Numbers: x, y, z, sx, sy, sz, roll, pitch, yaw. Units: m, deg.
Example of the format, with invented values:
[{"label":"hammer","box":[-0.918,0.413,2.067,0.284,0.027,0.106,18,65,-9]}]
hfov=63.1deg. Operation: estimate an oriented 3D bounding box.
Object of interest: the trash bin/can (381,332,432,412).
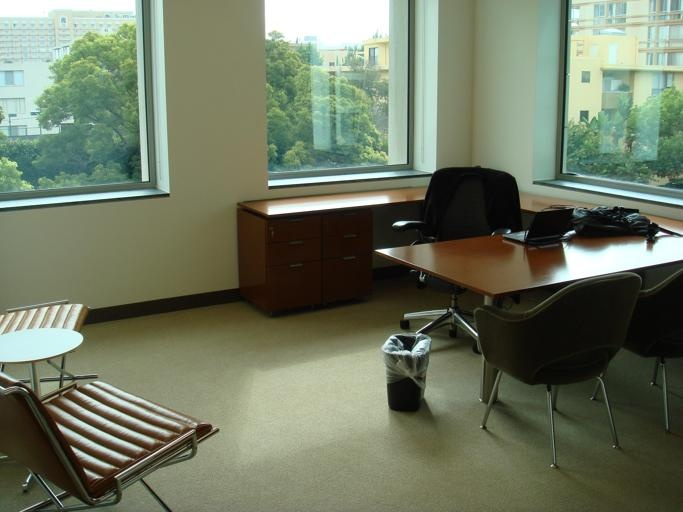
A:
[{"label":"trash bin/can","box":[0.375,0.735,3.648,0.396,0.490,0.397,-1,9,-2]}]

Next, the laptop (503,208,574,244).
[{"label":"laptop","box":[1.410,-0.220,4.000,0.345,0.250,0.311,-7,15,-22]}]
